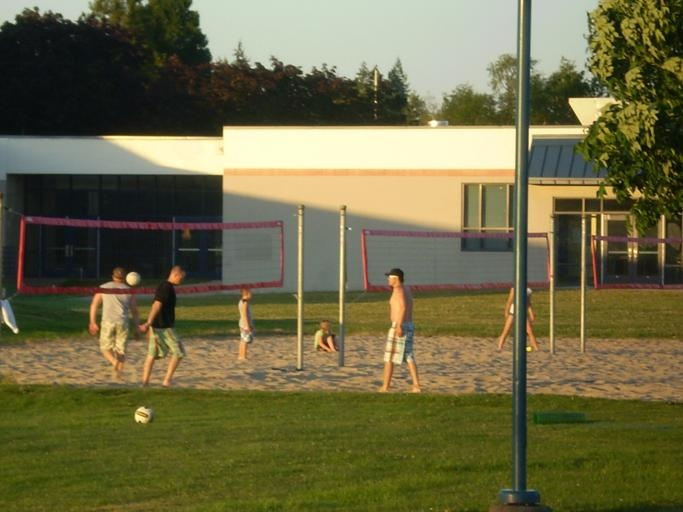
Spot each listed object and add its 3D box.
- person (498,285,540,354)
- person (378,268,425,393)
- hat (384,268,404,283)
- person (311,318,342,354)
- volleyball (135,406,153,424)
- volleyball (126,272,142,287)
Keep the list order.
[{"bbox_3d":[4.747,1.518,43.601,1.084,2.284,0.593,5,22,12],"label":"person"},{"bbox_3d":[1.422,1.829,40.040,0.926,2.990,0.483,-1,2,3],"label":"person"},{"bbox_3d":[1.285,0.480,40.015,0.418,0.250,0.288,16,2,10],"label":"hat"},{"bbox_3d":[-0.448,2.162,43.980,0.634,0.817,0.700,-1,2,-2],"label":"person"},{"bbox_3d":[-4.670,3.671,38.156,0.351,0.371,0.362,-9,27,-2],"label":"volleyball"},{"bbox_3d":[-5.705,0.668,44.267,0.400,0.419,0.411,-16,14,-39],"label":"volleyball"}]
